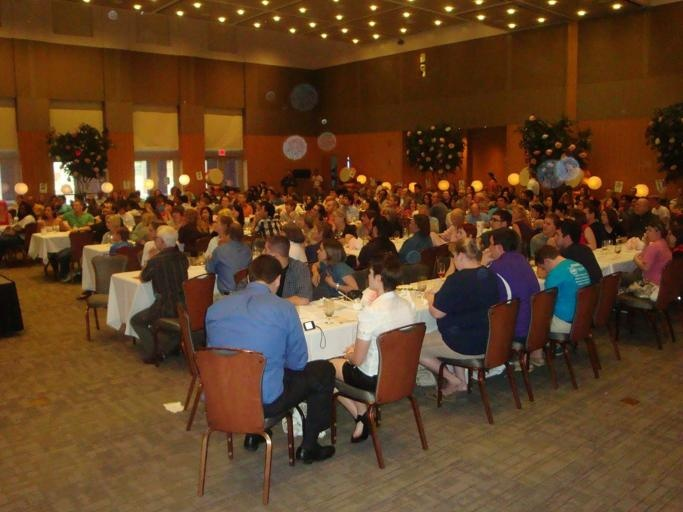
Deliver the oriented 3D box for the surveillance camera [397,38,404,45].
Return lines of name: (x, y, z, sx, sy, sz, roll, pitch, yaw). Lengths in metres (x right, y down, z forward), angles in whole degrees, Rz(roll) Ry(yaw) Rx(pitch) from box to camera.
surveillance camera: (2.454, -9.001, 22.646, 0.262, 0.287, 0.065, 1, 4, 23)

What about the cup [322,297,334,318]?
cup: (-0.127, 0.497, 5.338, 0.125, 0.226, 0.140, -3, 7, -11)

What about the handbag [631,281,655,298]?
handbag: (4.053, 0.448, 7.352, 0.179, 0.110, 0.251, -1, 9, 3)

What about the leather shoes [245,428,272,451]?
leather shoes: (-0.800, 1.669, 4.935, 0.188, 0.120, 0.131, -3, 12, -8)
